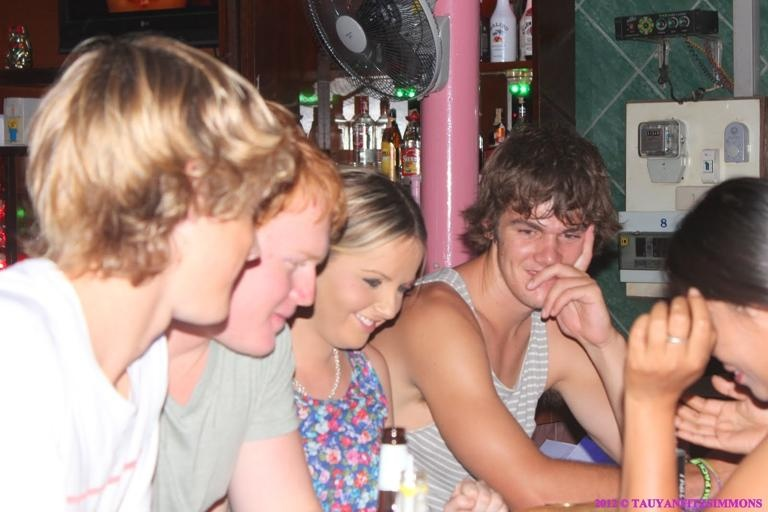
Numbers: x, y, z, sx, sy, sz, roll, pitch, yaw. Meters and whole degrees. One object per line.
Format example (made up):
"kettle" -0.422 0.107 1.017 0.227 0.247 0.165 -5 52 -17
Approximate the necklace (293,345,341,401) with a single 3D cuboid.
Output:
"necklace" -0.171 0.358 2.236 0.107 0.157 0.026 -2 -17 -8
